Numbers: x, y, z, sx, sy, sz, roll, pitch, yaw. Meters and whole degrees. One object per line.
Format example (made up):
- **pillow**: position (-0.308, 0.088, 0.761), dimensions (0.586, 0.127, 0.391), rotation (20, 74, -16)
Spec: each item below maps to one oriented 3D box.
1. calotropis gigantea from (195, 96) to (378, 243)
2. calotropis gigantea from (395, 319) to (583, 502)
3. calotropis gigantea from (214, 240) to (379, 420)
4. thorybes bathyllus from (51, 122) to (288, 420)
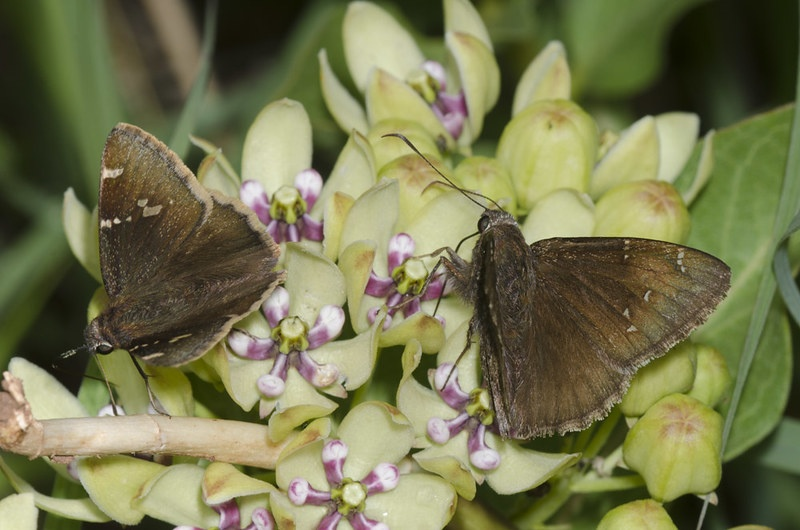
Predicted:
- **calotropis gigantea**: position (-0.441, -0.350, 3.742), dimensions (0.608, 0.360, 0.610), rotation (-39, 70, -22)
- **calotropis gigantea**: position (0.272, 0.401, 3.450), dimensions (0.520, 0.753, 0.439), rotation (1, 14, -12)
- **calotropis gigantea**: position (-0.381, 0.312, 3.549), dimensions (0.599, 0.256, 0.583), rotation (-42, 82, -14)
- **thorybes bathyllus**: position (-0.774, 0.102, 3.699), dimensions (0.834, 0.579, 1.132), rotation (8, 72, -7)
